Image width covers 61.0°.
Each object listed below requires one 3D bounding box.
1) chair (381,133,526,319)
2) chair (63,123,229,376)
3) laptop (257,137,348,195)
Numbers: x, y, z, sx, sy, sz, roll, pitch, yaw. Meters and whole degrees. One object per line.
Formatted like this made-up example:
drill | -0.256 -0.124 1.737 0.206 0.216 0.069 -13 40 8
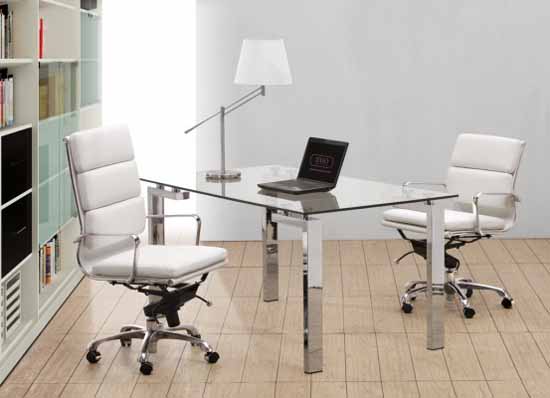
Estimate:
chair | 1.406 0.183 3.764 1.077 1.085 1.325 0 -83 10
chair | -0.783 0.307 2.952 0.942 0.856 1.376 3 -83 3
laptop | 0.193 -0.227 3.237 0.546 0.553 0.310 -6 -96 18
